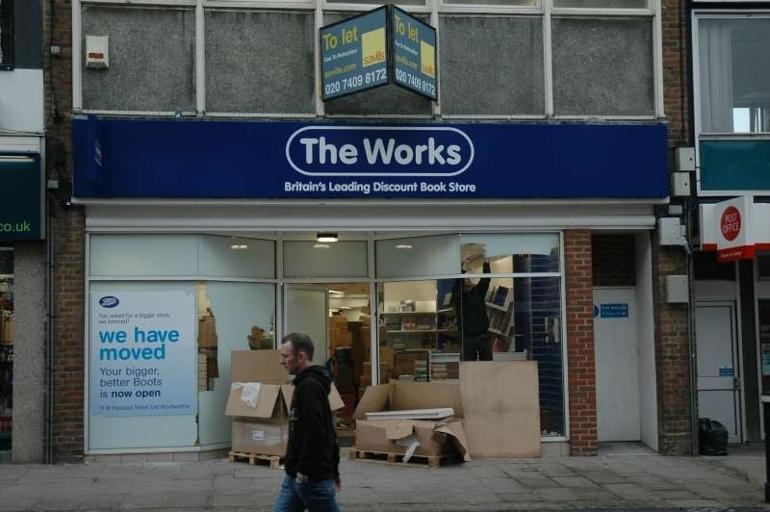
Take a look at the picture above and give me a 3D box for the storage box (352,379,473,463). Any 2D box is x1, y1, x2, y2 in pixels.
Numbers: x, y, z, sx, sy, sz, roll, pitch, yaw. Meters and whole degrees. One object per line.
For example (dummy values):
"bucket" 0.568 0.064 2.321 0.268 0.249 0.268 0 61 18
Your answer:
"storage box" 0.473 2.899 18.805 1.790 1.136 1.350 -1 -7 22

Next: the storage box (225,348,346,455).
"storage box" -1.909 2.672 19.132 2.197 2.231 1.852 0 -11 2

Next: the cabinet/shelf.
"cabinet/shelf" 0.734 1.182 19.514 1.513 1.277 0.510 -2 -3 24
